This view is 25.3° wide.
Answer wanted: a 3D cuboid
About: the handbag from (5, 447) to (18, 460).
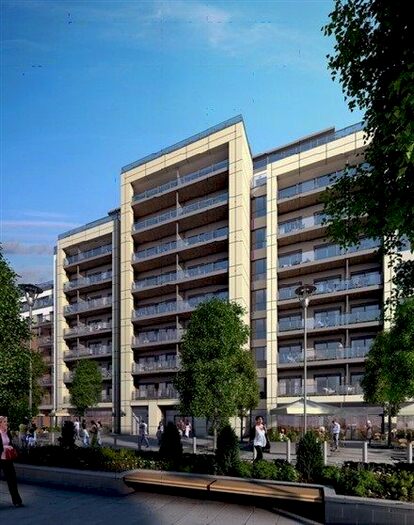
[{"bbox_3d":[-5.190,5.072,24.395,0.257,0.296,0.204,0,-15,1],"label":"handbag"}]
